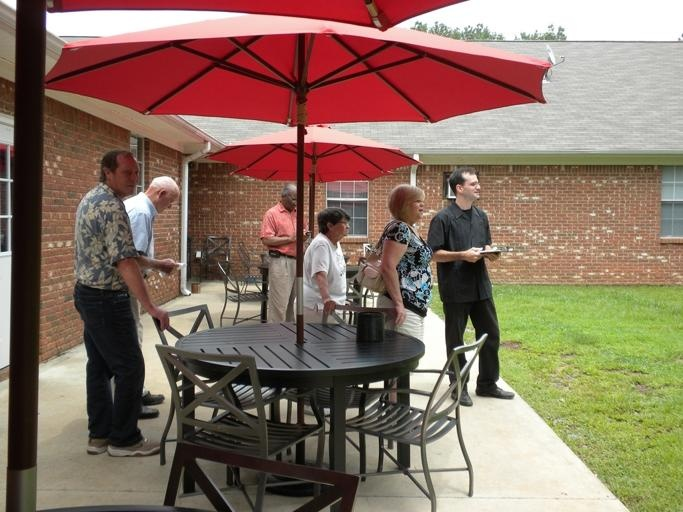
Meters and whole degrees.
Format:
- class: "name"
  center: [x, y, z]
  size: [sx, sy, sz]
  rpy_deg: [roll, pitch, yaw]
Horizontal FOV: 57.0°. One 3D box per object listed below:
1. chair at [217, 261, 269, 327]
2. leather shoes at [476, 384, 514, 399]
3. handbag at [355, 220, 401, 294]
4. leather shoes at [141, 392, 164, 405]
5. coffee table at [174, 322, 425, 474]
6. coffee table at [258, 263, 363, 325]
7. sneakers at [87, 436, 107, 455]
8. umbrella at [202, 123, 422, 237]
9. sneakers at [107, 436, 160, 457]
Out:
- class: "chair"
  center: [-1.356, 0.539, 9.162]
  size: [0.909, 1.103, 0.876]
  rpy_deg: [0, 4, 2]
- class: "leather shoes"
  center: [1.448, 1.303, 5.994]
  size: [0.356, 0.143, 0.129]
  rpy_deg: [0, 0, 7]
- class: "handbag"
  center: [0.312, 0.006, 5.145]
  size: [0.245, 0.565, 0.204]
  rpy_deg: [26, 16, 19]
- class: "leather shoes"
  center: [-1.694, 1.285, 5.670]
  size: [0.218, 0.095, 0.078]
  rpy_deg: [0, 3, -29]
- class: "coffee table"
  center: [-0.155, 0.678, 4.255]
  size: [1.255, 0.629, 1.129]
  rpy_deg: [2, 16, 0]
- class: "coffee table"
  center: [-0.575, 0.442, 8.062]
  size: [1.024, 1.099, 0.994]
  rpy_deg: [0, -1, 6]
- class: "sneakers"
  center: [-1.817, 1.421, 4.698]
  size: [0.067, 0.086, 0.185]
  rpy_deg: [3, 2, 3]
- class: "umbrella"
  center: [-0.188, -0.762, 6.826]
  size: [1.522, 1.107, 1.502]
  rpy_deg: [0, -2, -39]
- class: "sneakers"
  center: [-1.504, 1.417, 4.637]
  size: [0.392, 0.173, 0.145]
  rpy_deg: [0, -3, -10]
